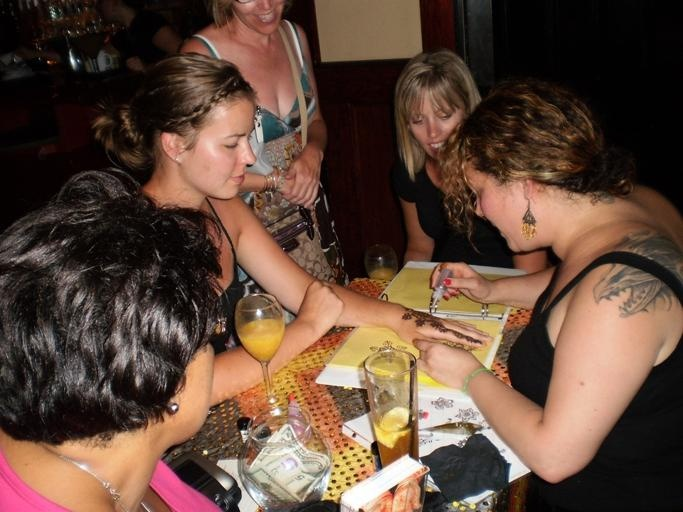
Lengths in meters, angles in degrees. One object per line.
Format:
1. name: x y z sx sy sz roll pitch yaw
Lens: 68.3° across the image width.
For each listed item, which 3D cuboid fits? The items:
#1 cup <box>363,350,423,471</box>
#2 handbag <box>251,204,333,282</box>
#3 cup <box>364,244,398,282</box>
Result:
1. cup: 0.121 0.407 1.155 0.109 0.386 0.110 -4 9 1
2. handbag: -0.210 -0.049 2.380 0.316 0.332 0.096 -7 -19 -42
3. cup: 0.167 0.052 2.090 0.144 0.171 0.147 -4 -8 -1
